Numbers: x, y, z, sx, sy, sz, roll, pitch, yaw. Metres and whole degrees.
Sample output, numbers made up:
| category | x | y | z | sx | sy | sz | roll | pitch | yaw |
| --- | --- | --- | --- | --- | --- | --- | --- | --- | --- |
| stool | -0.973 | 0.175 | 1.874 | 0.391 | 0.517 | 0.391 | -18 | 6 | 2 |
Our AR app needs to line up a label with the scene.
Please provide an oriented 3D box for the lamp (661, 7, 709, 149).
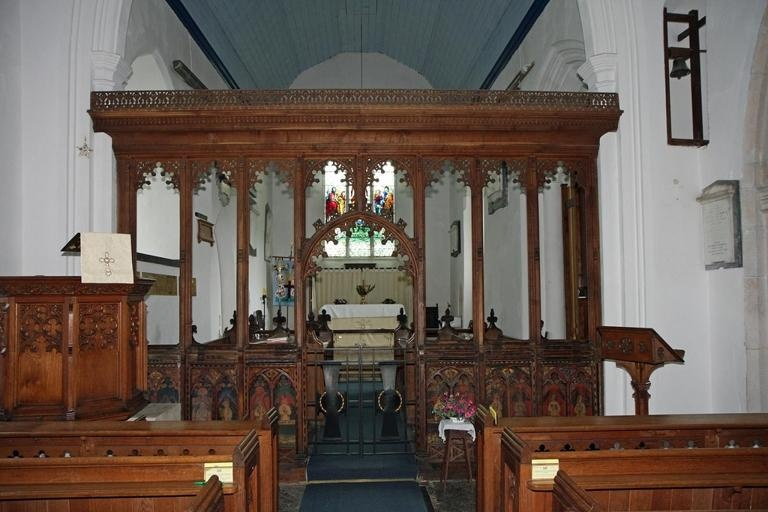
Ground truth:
| category | x | y | z | sx | sy | sz | roll | pitch | yaw |
| --- | --- | --- | --- | --- | --- | --- | --- | --- | --- |
| lamp | 3.982 | -2.375 | 10.470 | 0.616 | 1.768 | 0.763 | 2 | 14 | 13 |

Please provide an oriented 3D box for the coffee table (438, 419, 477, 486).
| category | x | y | z | sx | sy | sz | roll | pitch | yaw |
| --- | --- | --- | --- | --- | --- | --- | --- | --- | --- |
| coffee table | 0.929 | 2.340 | 9.965 | 0.426 | 0.785 | 0.764 | -1 | 14 | 4 |

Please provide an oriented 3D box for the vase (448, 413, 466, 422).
| category | x | y | z | sx | sy | sz | roll | pitch | yaw |
| --- | --- | --- | --- | --- | --- | --- | --- | --- | --- |
| vase | 0.916 | 1.965 | 9.787 | 0.184 | 0.085 | 0.078 | 2 | 14 | 14 |

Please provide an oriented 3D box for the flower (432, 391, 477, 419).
| category | x | y | z | sx | sy | sz | roll | pitch | yaw |
| --- | --- | --- | --- | --- | --- | --- | --- | --- | --- |
| flower | 0.908 | 1.853 | 9.969 | 0.438 | 0.349 | 0.478 | 1 | -4 | 7 |
